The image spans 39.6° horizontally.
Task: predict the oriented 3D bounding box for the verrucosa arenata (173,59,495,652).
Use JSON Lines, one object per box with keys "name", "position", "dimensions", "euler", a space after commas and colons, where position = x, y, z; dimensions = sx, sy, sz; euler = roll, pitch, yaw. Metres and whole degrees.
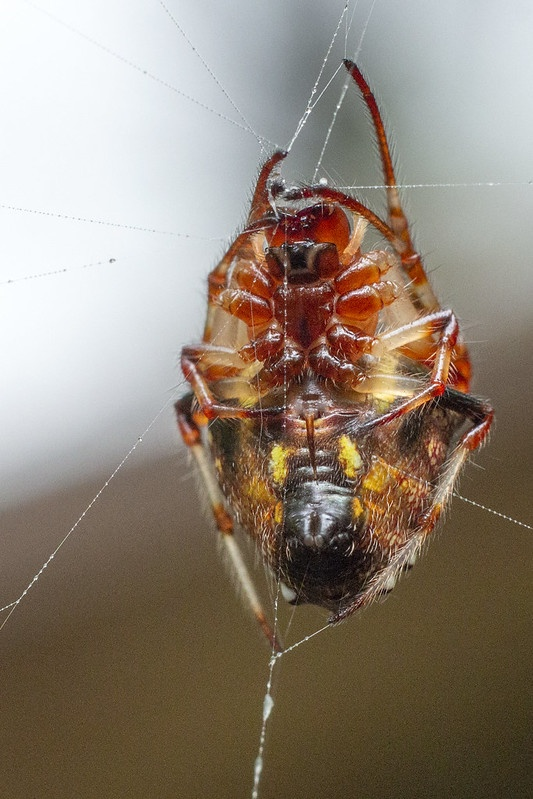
{"name": "verrucosa arenata", "position": [0.059, -0.018, 0.723], "dimensions": [0.339, 0.571, 0.160], "euler": [-1, -8, 4]}
